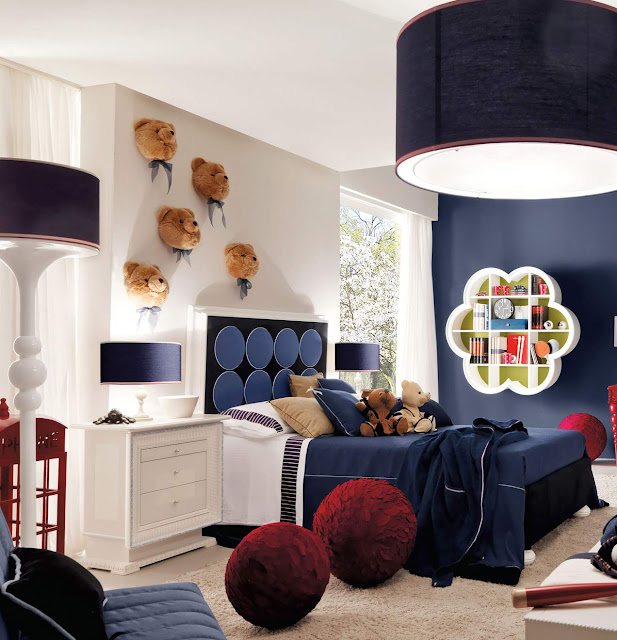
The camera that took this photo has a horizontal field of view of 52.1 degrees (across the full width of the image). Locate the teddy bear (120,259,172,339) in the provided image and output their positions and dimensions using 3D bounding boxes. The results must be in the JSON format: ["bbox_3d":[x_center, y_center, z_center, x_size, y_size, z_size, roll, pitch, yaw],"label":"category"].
[{"bbox_3d":[-0.971,-0.134,3.907,0.162,0.460,0.386,-7,-8,21],"label":"teddy bear"}]

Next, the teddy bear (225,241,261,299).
[{"bbox_3d":[-0.498,-0.379,4.707,0.263,0.399,0.227,1,-5,-44],"label":"teddy bear"}]

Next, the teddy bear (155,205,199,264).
[{"bbox_3d":[-0.841,-0.574,4.153,0.230,0.364,0.325,-3,2,35],"label":"teddy bear"}]

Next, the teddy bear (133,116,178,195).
[{"bbox_3d":[-0.956,-1.060,4.003,0.248,0.442,0.333,3,7,37],"label":"teddy bear"}]

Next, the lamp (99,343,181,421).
[{"bbox_3d":[-0.872,0.339,3.477,0.430,0.420,0.430,-1,-3,21],"label":"lamp"}]

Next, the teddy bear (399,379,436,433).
[{"bbox_3d":[0.704,0.576,4.165,0.277,0.371,0.367,3,0,20],"label":"teddy bear"}]

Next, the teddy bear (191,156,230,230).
[{"bbox_3d":[-0.689,-0.910,4.455,0.234,0.452,0.330,-6,-1,41],"label":"teddy bear"}]

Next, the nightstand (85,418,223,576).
[{"bbox_3d":[-0.897,0.978,3.600,0.428,0.700,0.759,-5,-9,27],"label":"nightstand"}]

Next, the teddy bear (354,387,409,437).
[{"bbox_3d":[0.455,0.577,3.996,0.327,0.321,0.211,-9,7,-16],"label":"teddy bear"}]

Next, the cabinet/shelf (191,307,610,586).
[{"bbox_3d":[0.383,0.878,3.981,1.910,1.179,1.881,-4,-3,26],"label":"cabinet/shelf"}]
